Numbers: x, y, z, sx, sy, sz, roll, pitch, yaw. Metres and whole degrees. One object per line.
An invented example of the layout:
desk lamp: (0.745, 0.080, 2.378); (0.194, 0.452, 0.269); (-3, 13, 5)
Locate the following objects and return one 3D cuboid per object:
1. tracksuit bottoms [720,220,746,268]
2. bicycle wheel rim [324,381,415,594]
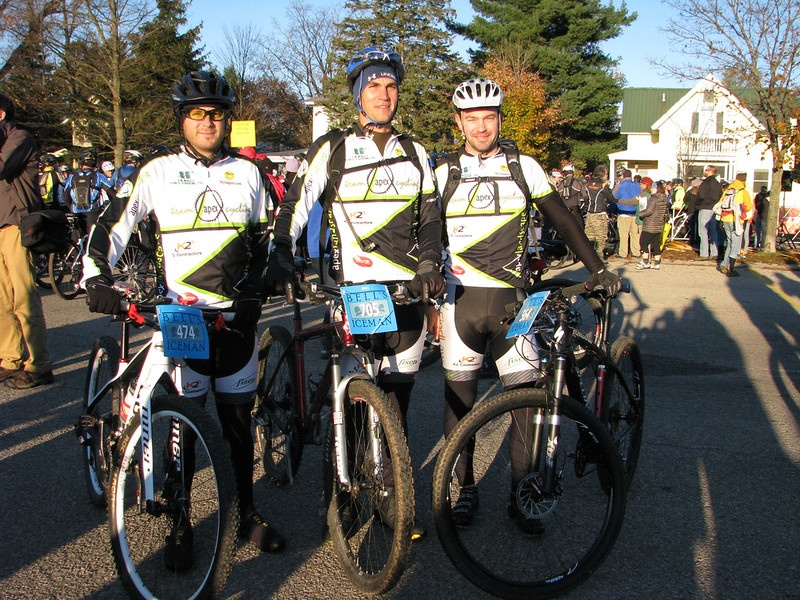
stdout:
tracksuit bottoms: (7.310, -1.249, 14.404); (0.371, 1.337, 0.515); (1, -2, 16)
bicycle wheel rim: (-0.183, 1.033, 3.647); (0.386, 1.159, 0.800); (-3, 12, -17)
